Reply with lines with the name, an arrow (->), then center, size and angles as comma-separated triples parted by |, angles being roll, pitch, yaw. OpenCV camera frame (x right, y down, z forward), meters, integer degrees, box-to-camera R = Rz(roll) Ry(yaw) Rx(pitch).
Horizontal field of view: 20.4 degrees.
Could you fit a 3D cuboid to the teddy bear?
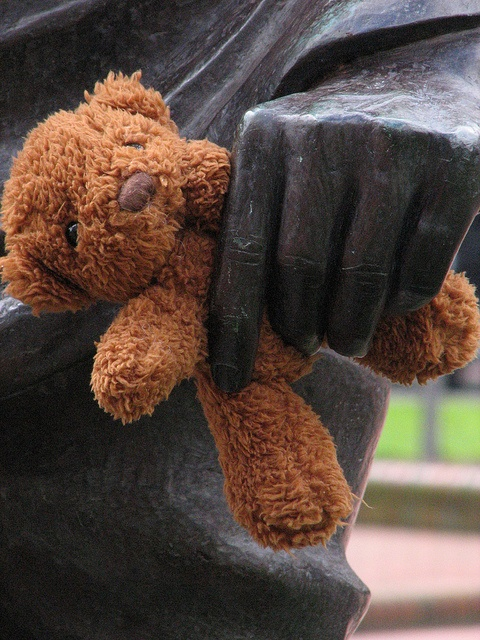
teddy bear -> -0.026, -0.027, 1.496 | 0.306, 0.392, 0.482 | 16, -8, 44
